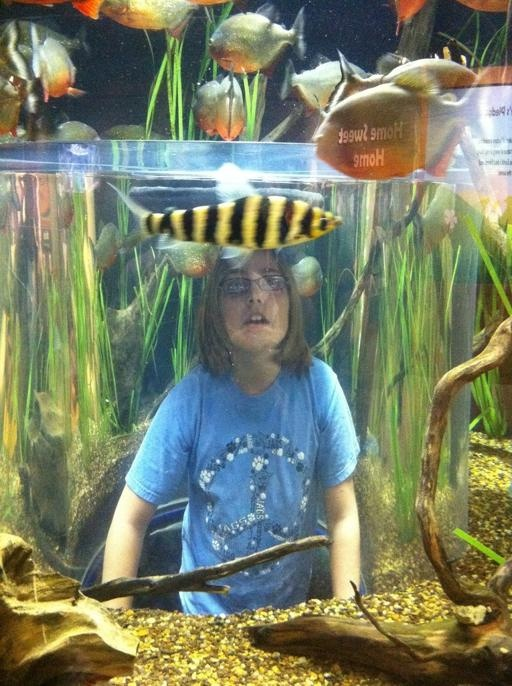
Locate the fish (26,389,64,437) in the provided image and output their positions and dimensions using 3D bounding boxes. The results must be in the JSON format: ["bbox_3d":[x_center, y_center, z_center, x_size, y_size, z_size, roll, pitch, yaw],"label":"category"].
[{"bbox_3d":[-0.590,0.199,2.065,0.125,0.129,0.023,9,12,30],"label":"fish"}]

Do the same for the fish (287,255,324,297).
[{"bbox_3d":[0.127,-0.165,1.776,0.058,0.080,0.087,0,12,2],"label":"fish"}]

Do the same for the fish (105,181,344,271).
[{"bbox_3d":[-0.081,-0.276,1.639,0.549,0.125,0.139,11,13,27],"label":"fish"}]
